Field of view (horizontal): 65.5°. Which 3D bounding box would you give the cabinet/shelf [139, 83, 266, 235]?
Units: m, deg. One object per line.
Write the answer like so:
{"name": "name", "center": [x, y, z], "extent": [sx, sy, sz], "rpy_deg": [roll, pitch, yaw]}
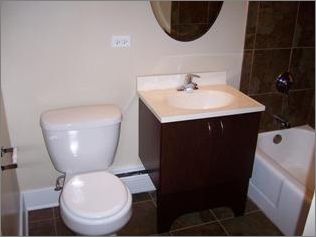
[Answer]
{"name": "cabinet/shelf", "center": [0.322, 0.315, 2.072], "extent": [0.825, 0.998, 0.617], "rpy_deg": [-8, 26, -18]}

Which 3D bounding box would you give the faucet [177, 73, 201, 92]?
{"name": "faucet", "center": [0.235, -0.312, 2.104], "extent": [0.232, 0.171, 0.103], "rpy_deg": [-1, 30, -3]}
